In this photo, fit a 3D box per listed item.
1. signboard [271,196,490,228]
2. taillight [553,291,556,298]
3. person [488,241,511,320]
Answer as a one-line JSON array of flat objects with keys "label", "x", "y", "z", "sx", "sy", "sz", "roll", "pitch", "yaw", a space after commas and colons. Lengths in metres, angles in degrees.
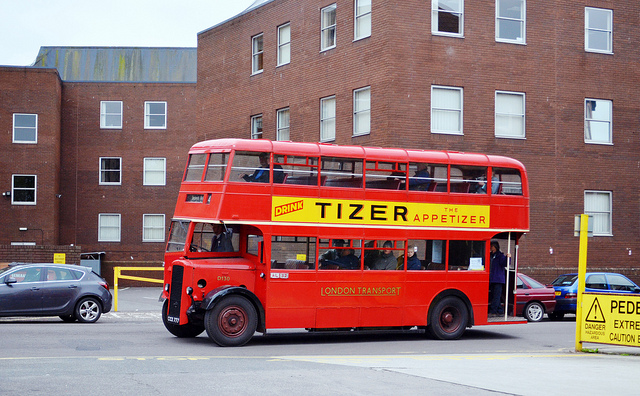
[{"label": "signboard", "x": 1.919, "y": 0.498, "z": 35.209, "sx": 13.063, "sy": 1.206, "sz": 0.229, "roll": 1, "pitch": 20, "yaw": 44}, {"label": "taillight", "x": 10.297, "y": 4.231, "z": 41.615, "sx": 0.056, "sy": 0.252, "sz": 0.267, "roll": 8, "pitch": 11, "yaw": 36}, {"label": "person", "x": 6.719, "y": 3.197, "z": 36.819, "sx": 0.905, "sy": 2.641, "sz": 0.978, "roll": 8, "pitch": -3, "yaw": -16}]
